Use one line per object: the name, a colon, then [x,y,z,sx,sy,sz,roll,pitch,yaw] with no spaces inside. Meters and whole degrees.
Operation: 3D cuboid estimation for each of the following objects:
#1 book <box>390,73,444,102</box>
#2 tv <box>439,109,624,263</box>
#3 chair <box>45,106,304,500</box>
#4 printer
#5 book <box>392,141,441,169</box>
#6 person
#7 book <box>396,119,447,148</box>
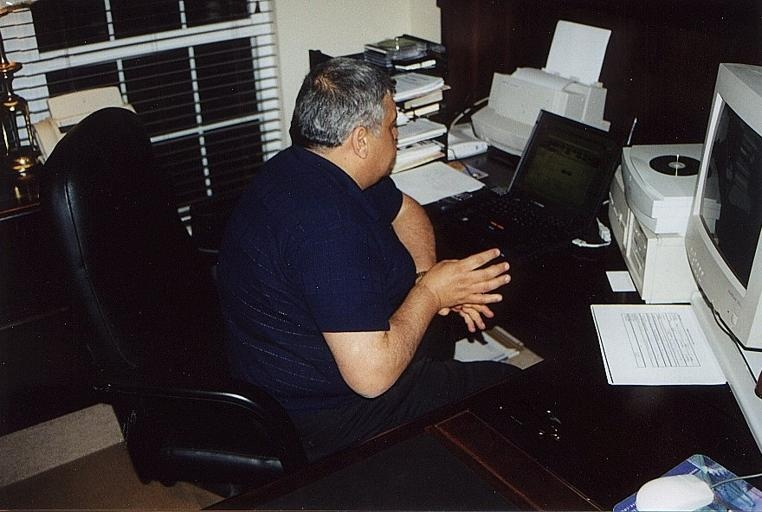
book: [0.146,-0.745,2.468,0.207,0.049,0.210,-22,38,-28]
tv: [0.713,-0.186,2.208,0.238,0.605,0.462,-43,51,-18]
chair: [-0.594,0.193,1.727,0.670,0.988,0.693,-1,12,12]
printer: [0.675,-0.613,2.443,0.387,0.314,0.506,-23,33,-27]
book: [0.159,-0.432,2.444,0.184,0.047,0.182,-21,30,-20]
person: [-0.011,0.231,1.943,0.894,1.600,0.721,-26,35,-30]
book: [0.163,-0.544,2.473,0.221,0.051,0.220,-19,31,-25]
